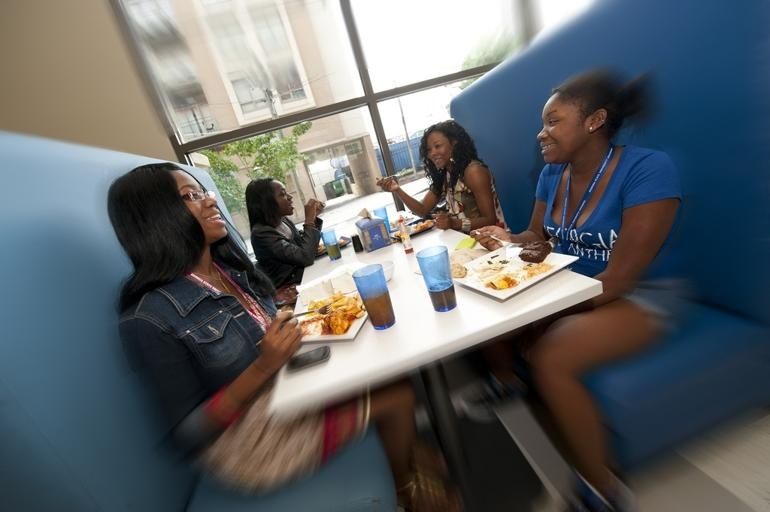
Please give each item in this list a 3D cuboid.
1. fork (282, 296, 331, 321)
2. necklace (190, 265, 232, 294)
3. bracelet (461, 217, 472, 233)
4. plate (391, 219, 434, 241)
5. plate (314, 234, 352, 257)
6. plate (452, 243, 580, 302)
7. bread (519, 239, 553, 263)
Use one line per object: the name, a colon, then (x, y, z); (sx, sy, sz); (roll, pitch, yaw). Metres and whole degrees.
fork: (-0.428, 0.263, 2.105); (0.445, 0.064, 0.052); (-16, -23, 40)
necklace: (-0.860, 0.100, 2.176); (0.166, 0.059, 0.121); (33, 31, 19)
bracelet: (0.526, -0.199, 2.822); (0.068, 0.094, 0.104); (-10, 3, -1)
plate: (0.193, -0.171, 2.834); (0.216, 0.029, 0.150); (-24, 29, -24)
plate: (-0.379, -0.079, 3.185); (0.148, 0.059, 0.234); (6, 24, 17)
plate: (0.559, 0.077, 1.941); (0.333, 0.035, 0.325); (-28, 17, -22)
bread: (0.693, -0.021, 1.986); (0.126, 0.038, 0.094); (-25, 26, -14)
